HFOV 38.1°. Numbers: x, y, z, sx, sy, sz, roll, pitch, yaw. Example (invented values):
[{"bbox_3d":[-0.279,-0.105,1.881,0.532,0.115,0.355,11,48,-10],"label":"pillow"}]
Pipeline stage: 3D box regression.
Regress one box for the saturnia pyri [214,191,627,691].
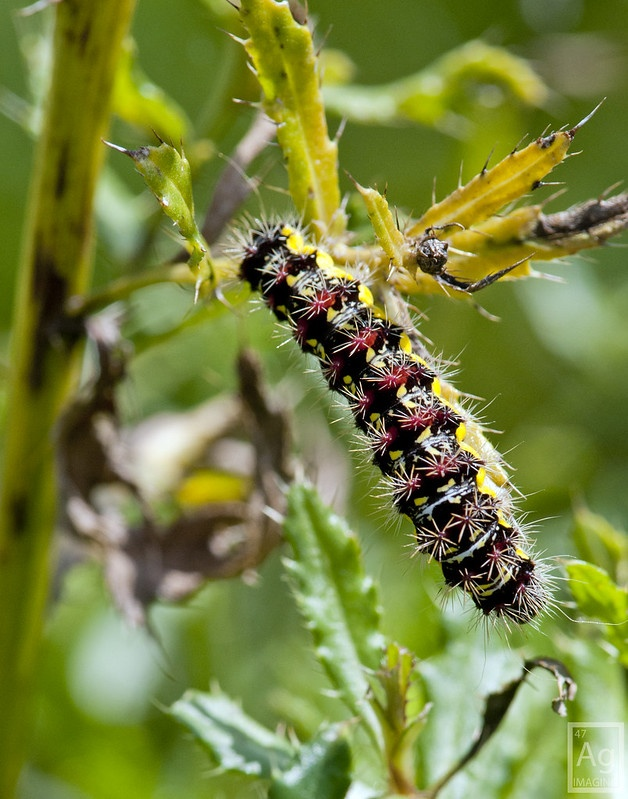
[{"bbox_3d":[0.112,0.019,1.095,0.218,0.722,0.231,-32,-9,-38],"label":"saturnia pyri"}]
